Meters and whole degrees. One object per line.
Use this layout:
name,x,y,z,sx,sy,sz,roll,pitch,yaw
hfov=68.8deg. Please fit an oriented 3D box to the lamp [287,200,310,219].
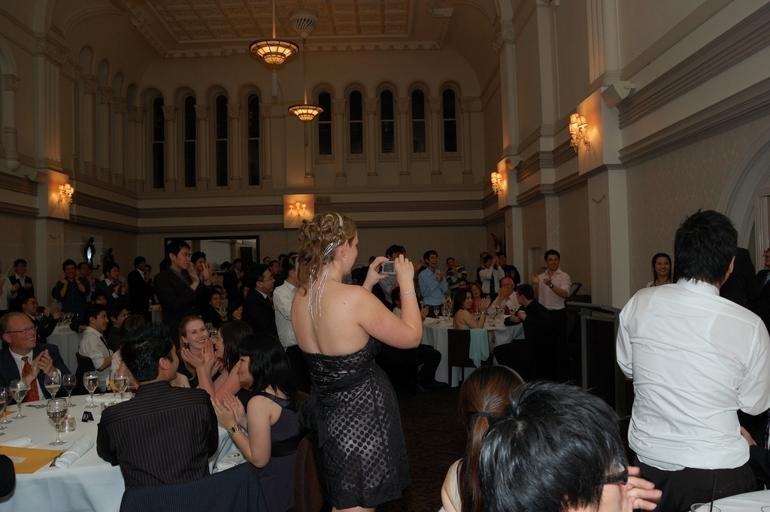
lamp,-2.344,-1.236,14.903,0.518,0.587,0.183,0,-5,-6

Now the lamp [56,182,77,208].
lamp,-6.727,-1.304,11.862,0.216,0.577,0.693,0,-6,-17

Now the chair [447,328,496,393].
chair,1.125,1.236,7.630,0.492,0.421,0.502,-18,-16,33

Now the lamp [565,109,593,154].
lamp,2.808,-1.766,8.232,0.239,0.586,0.596,-2,-6,8

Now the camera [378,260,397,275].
camera,0.015,0.072,3.349,0.079,0.089,0.057,0,3,-5
